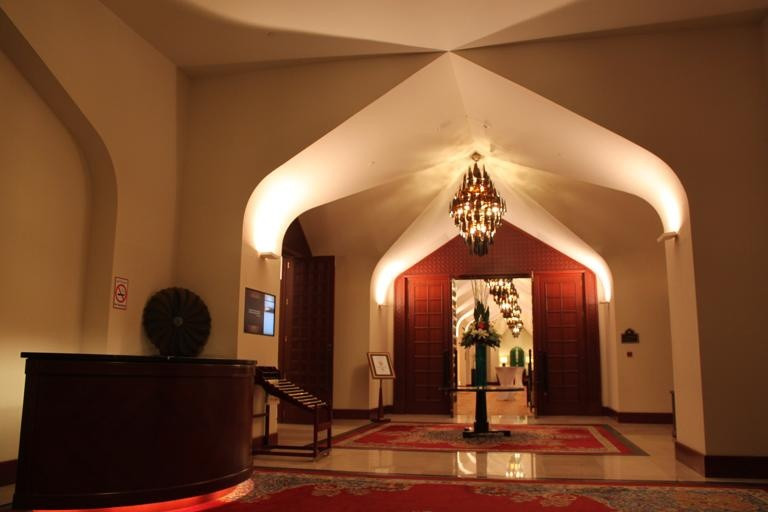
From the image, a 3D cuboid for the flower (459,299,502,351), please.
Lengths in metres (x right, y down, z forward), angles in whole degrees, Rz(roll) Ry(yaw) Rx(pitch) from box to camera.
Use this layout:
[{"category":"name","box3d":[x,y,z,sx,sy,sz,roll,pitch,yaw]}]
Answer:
[{"category":"flower","box3d":[2.026,1.381,10.946,0.868,1.018,0.951,-2,-6,41]}]

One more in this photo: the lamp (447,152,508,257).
[{"category":"lamp","box3d":[1.738,-1.174,10.037,0.954,2.370,0.994,-1,-13,7]}]
